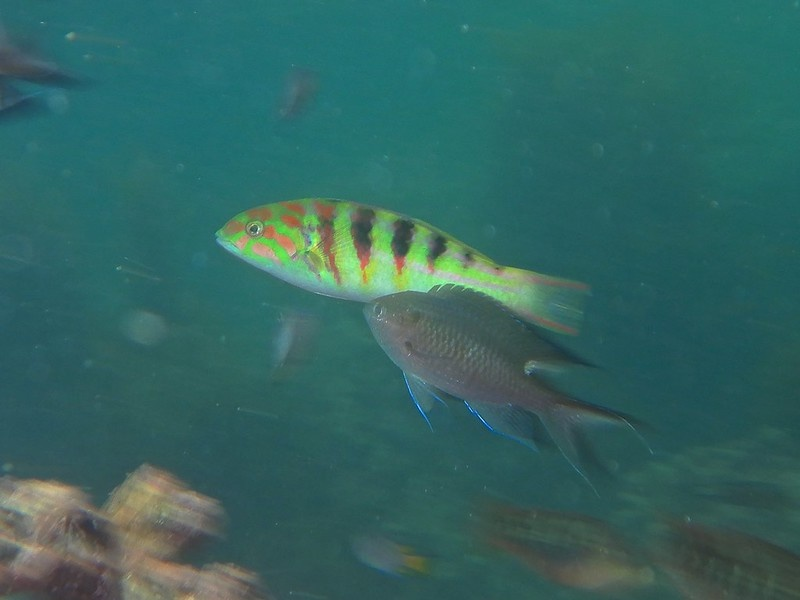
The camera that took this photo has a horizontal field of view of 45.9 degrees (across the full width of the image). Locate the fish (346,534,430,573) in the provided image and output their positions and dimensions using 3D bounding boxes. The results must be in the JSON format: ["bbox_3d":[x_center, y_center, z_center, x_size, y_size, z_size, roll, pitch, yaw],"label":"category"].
[{"bbox_3d":[-0.016,0.746,2.742,0.246,0.032,0.103,14,52,-8],"label":"fish"}]

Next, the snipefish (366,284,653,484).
[{"bbox_3d":[0.250,0.210,2.662,0.836,0.407,0.126,29,34,13],"label":"snipefish"}]

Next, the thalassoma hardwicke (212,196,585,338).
[{"bbox_3d":[-0.085,-0.130,2.664,0.990,0.363,0.291,13,92,0],"label":"thalassoma hardwicke"}]
